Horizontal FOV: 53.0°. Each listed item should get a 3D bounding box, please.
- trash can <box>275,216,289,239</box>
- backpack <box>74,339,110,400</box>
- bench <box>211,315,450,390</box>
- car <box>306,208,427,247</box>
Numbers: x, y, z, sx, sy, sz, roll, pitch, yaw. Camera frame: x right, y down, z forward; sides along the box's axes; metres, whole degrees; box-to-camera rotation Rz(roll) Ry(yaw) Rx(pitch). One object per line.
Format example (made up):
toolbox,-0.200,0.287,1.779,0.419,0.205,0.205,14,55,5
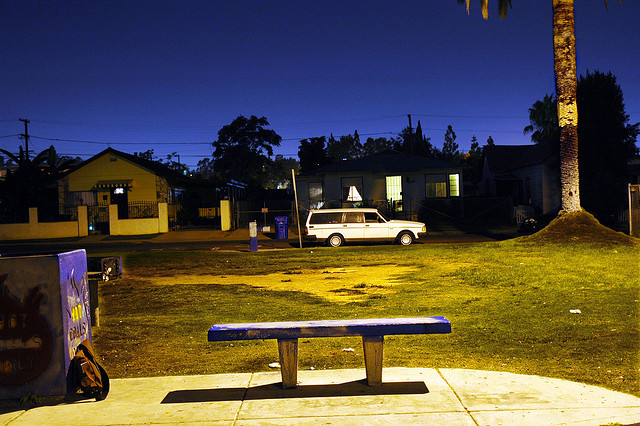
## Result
trash can,-2.130,0.840,35.318,0.606,1.163,0.400,-4,6,-17
backpack,-3.305,2.267,9.210,0.446,0.779,0.316,2,7,32
bench,0.122,2.009,10.680,3.439,1.014,2.896,-2,5,-3
car,2.034,0.722,29.592,4.818,1.572,2.182,-2,1,-1
